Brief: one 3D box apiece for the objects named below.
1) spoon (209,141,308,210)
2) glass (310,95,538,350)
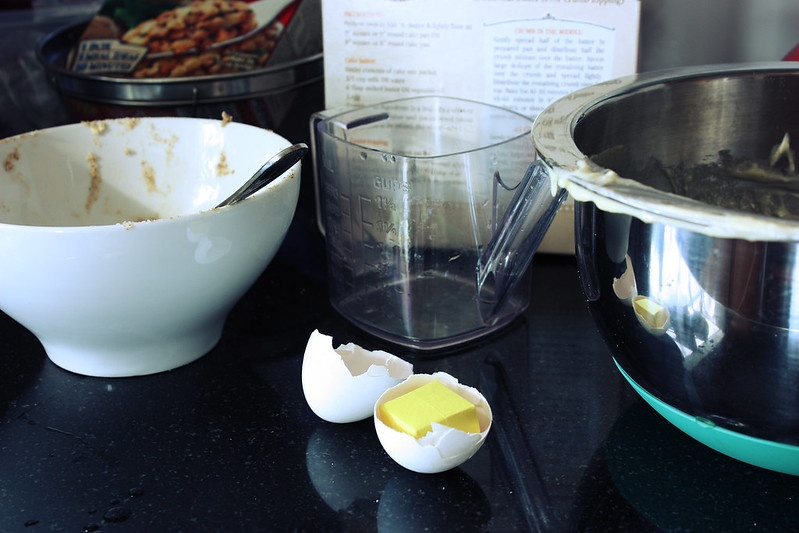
[{"bbox_3d":[-0.180,-0.115,0.865,0.115,0.028,0.030,-42,45,15],"label":"spoon"},{"bbox_3d":[0.012,-0.084,0.963,0.237,0.278,0.324,-26,37,-38],"label":"glass"}]
